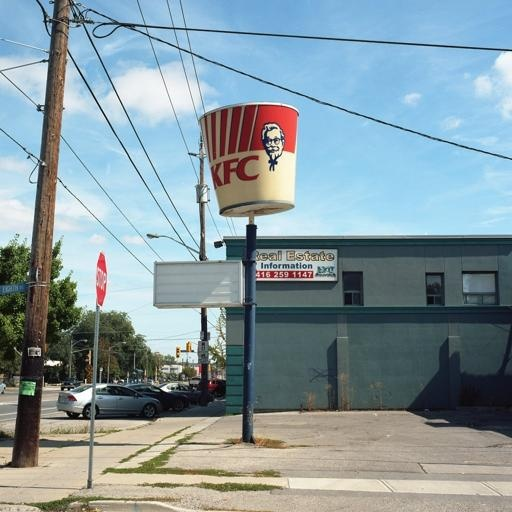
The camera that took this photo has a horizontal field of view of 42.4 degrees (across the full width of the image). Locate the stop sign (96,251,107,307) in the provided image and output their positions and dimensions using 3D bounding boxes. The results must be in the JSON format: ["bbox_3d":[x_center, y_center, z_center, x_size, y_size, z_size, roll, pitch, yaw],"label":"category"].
[{"bbox_3d":[-2.484,0.365,10.503,0.143,0.925,0.882,3,-11,-14],"label":"stop sign"}]
